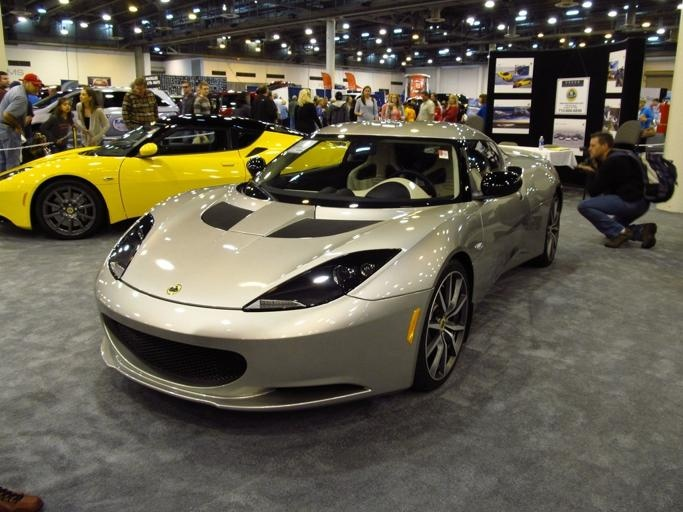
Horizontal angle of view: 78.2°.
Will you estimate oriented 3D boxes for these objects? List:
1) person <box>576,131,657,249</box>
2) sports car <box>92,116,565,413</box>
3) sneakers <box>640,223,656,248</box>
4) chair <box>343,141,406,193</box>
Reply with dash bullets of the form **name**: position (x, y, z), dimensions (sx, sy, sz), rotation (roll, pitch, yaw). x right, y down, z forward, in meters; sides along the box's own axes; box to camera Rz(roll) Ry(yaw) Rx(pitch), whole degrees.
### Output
- **person**: position (3.657, -0.857, 5.706), dimensions (0.980, 1.459, 0.953), rotation (-1, 3, -7)
- **sports car**: position (0.329, -0.130, 2.944), dimensions (1.691, 0.910, 3.126), rotation (10, 19, 31)
- **sneakers**: position (4.019, -0.253, 5.359), dimensions (0.183, 0.298, 0.288), rotation (13, 22, 34)
- **chair**: position (0.304, -0.722, 3.195), dimensions (0.361, 0.477, 0.402), rotation (-5, -5, 33)
